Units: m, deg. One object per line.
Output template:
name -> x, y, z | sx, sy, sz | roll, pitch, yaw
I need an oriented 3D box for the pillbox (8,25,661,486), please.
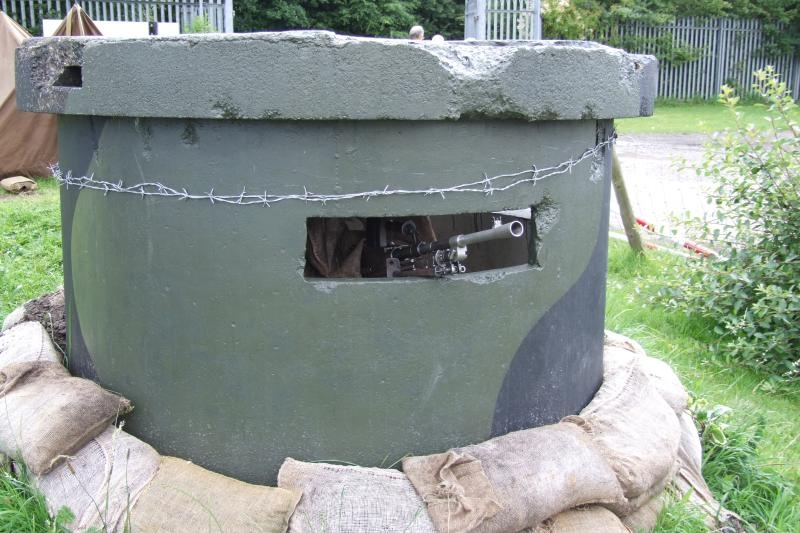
pillbox -> -0.409, -0.087, 3.983 | 3.214, 2.402, 1.119 | 6, 18, 8
